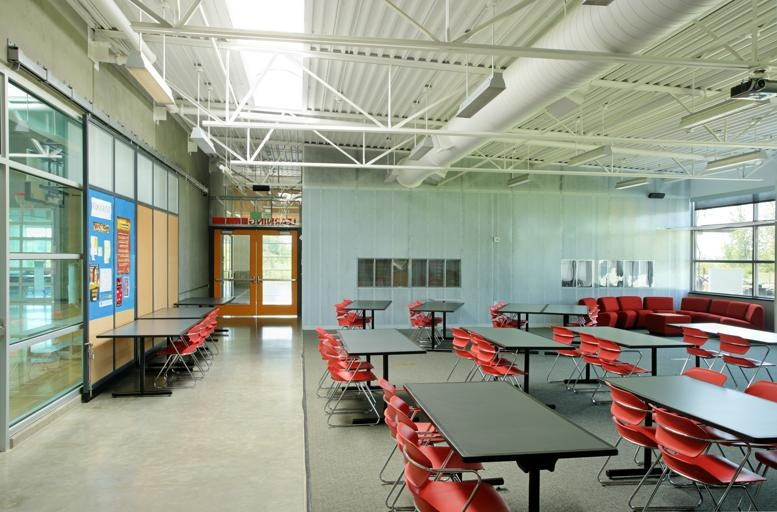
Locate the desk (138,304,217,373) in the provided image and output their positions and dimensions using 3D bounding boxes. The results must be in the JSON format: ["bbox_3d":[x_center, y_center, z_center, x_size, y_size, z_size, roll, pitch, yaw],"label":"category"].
[{"bbox_3d":[-4.320,1.386,10.733,1.202,1.354,2.926,3,-3,-6],"label":"desk"}]

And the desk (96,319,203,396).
[{"bbox_3d":[-4.476,1.846,9.949,1.455,1.263,1.632,-1,11,-12],"label":"desk"}]

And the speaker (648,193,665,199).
[{"bbox_3d":[9.081,-2.023,17.609,0.599,0.205,0.230,0,11,-5],"label":"speaker"}]
